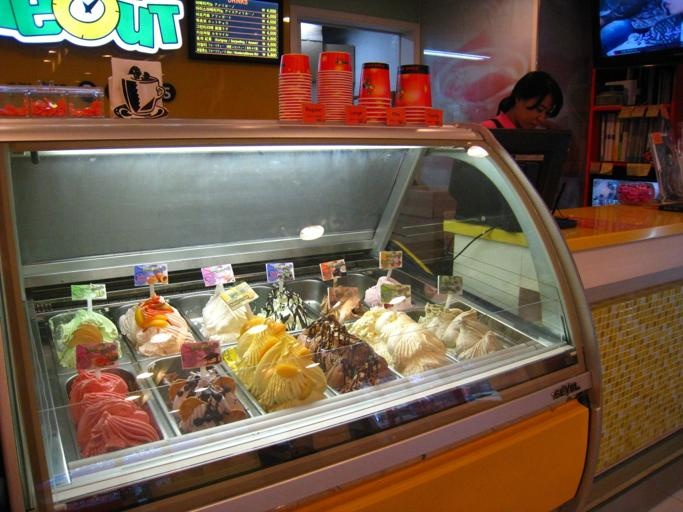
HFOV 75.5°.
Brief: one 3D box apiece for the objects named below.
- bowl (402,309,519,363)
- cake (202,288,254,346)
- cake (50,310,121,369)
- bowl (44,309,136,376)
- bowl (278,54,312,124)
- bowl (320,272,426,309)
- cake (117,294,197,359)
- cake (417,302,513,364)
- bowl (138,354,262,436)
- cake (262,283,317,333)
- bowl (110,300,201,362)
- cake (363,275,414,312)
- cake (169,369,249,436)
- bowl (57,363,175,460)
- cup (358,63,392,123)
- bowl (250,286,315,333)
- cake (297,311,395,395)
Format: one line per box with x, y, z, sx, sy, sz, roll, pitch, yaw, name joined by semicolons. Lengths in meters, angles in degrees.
0.374;0.239;1.396;0.161;0.063;0.206;-8;19;-25;bowl
-0.357;0.190;1.345;0.138;0.055;0.163;10;58;0;cake
-0.688;0.213;1.169;0.136;0.054;0.168;1;32;-36;cake
-0.686;0.217;1.160;0.136;0.058;0.181;1;33;-40;bowl
-0.140;-0.492;1.291;0.103;0.187;0.103;-6;16;2;bowl
0.087;0.124;1.514;0.214;0.062;0.148;0;27;2;bowl
-0.531;0.206;1.260;0.160;0.081;0.213;-15;44;-34;cake
0.376;0.227;1.397;0.153;0.057;0.202;-9;24;-24;cake
-0.350;0.305;1.069;0.157;0.074;0.235;-6;15;-30;bowl
-0.198;0.184;1.497;0.172;0.151;0.153;3;65;-22;cake
-0.530;0.209;1.258;0.156;0.079;0.207;-15;47;-33;bowl
0.157;0.121;1.486;0.116;0.033;0.110;-6;44;1;cake
-0.325;0.341;1.059;0.163;0.114;0.108;-13;17;-24;cake
-0.510;0.349;0.982;0.142;0.075;0.223;-6;22;-35;bowl
0.097;-0.498;1.344;0.104;0.194;0.212;-5;15;6;cup
-0.180;0.167;1.455;0.163;0.148;0.150;2;1;0;bowl
0.006;0.263;1.233;0.148;0.071;0.228;-12;25;-31;cake
